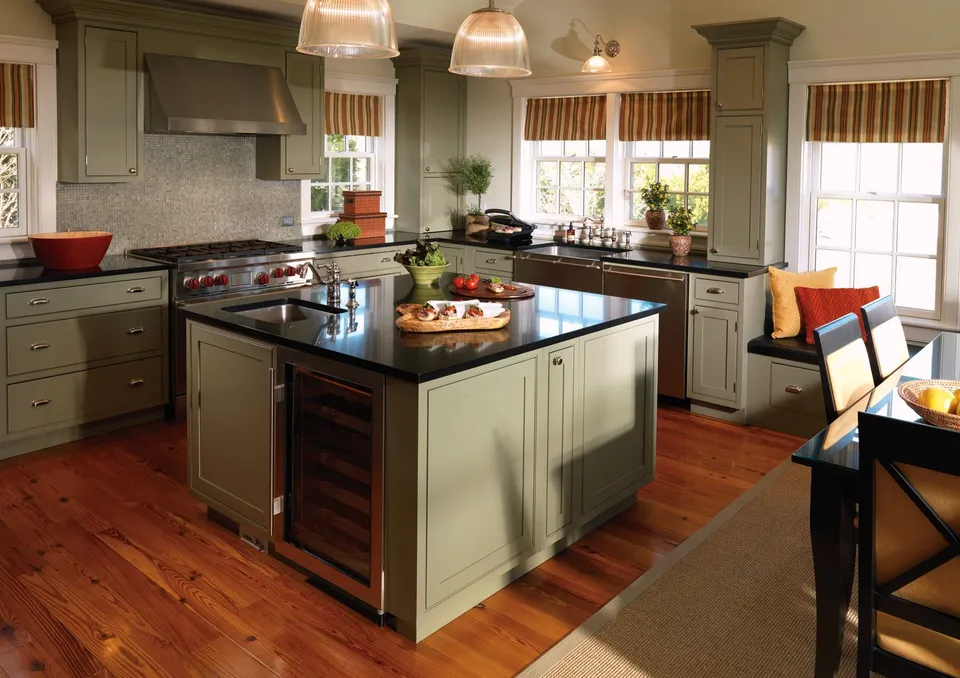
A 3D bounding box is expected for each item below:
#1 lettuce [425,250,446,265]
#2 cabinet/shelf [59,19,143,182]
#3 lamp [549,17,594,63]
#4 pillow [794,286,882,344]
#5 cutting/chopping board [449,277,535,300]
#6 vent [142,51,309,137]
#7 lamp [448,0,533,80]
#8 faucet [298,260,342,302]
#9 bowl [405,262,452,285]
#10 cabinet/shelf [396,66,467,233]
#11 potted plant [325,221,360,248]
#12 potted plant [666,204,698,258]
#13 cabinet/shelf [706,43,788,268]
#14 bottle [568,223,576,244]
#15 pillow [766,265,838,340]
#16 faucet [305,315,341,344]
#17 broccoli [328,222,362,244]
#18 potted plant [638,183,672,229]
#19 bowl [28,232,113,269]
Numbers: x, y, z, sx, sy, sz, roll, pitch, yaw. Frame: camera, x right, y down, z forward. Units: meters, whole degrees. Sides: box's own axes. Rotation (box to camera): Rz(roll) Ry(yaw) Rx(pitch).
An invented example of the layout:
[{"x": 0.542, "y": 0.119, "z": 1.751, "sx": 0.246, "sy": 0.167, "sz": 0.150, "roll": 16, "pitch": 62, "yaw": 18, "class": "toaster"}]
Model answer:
[{"x": -0.273, "y": -0.504, "z": 4.430, "sx": 0.147, "sy": 0.093, "sz": 0.054, "roll": -14, "pitch": 20, "yaw": -39, "class": "lettuce"}, {"x": -2.880, "y": -1.799, "z": 5.322, "sx": 0.402, "sy": 1.205, "sz": 0.519, "roll": 21, "pitch": 22, "yaw": 27, "class": "cabinet/shelf"}, {"x": 0.826, "y": -2.646, "z": 6.390, "sx": 0.430, "sy": 0.465, "sz": 0.453, "roll": 2, "pitch": 8, "yaw": 1, "class": "lamp"}, {"x": 2.643, "y": -0.217, "z": 5.257, "sx": 0.588, "sy": 0.397, "sz": 0.204, "roll": 0, "pitch": -7, "yaw": 25, "class": "pillow"}, {"x": 0.074, "y": -0.333, "z": 4.403, "sx": 0.539, "sy": 0.106, "sz": 0.454, "roll": -1, "pitch": 16, "yaw": 2, "class": "cutting/chopping board"}, {"x": -2.017, "y": -1.943, "z": 5.670, "sx": 1.140, "sy": 0.555, "sz": 0.432, "roll": -13, "pitch": 22, "yaw": -41, "class": "vent"}, {"x": 0.050, "y": -1.490, "z": 3.514, "sx": 0.418, "sy": 0.435, "sz": 0.411, "roll": -3, "pitch": 11, "yaw": -16, "class": "lamp"}, {"x": -0.877, "y": -0.336, "z": 4.195, "sx": 0.084, "sy": 0.234, "sz": 0.277, "roll": -25, "pitch": 6, "yaw": -7, "class": "faucet"}, {"x": -0.324, "y": -0.407, "z": 4.485, "sx": 0.244, "sy": 0.148, "sz": 0.172, "roll": -16, "pitch": 21, "yaw": -42, "class": "bowl"}, {"x": -0.481, "y": -1.892, "z": 7.388, "sx": 0.671, "sy": 1.550, "sz": 0.381, "roll": -13, "pitch": 22, "yaw": -40, "class": "cabinet/shelf"}, {"x": -1.247, "y": -0.950, "z": 6.416, "sx": 0.245, "sy": 0.234, "sz": 0.281, "roll": -4, "pitch": 10, "yaw": -21, "class": "potted plant"}, {"x": 1.738, "y": -0.939, "z": 6.106, "sx": 0.234, "sy": 0.398, "sz": 0.596, "roll": 3, "pitch": 16, "yaw": 17, "class": "potted plant"}, {"x": 2.115, "y": -1.469, "z": 5.617, "sx": 0.578, "sy": 1.784, "sz": 0.581, "roll": 2, "pitch": 4, "yaw": 17, "class": "cabinet/shelf"}, {"x": 0.865, "y": -1.005, "z": 6.678, "sx": 0.073, "sy": 0.165, "sz": 0.267, "roll": 0, "pitch": 16, "yaw": 6, "class": "bottle"}, {"x": 2.507, "y": -0.284, "z": 5.479, "sx": 0.574, "sy": 0.528, "sz": 0.206, "roll": -4, "pitch": -1, "yaw": -13, "class": "pillow"}, {"x": -0.759, "y": -0.047, "z": 3.506, "sx": 0.121, "sy": 0.042, "sz": 0.188, "roll": -11, "pitch": 22, "yaw": -32, "class": "faucet"}, {"x": -1.228, "y": -0.947, "z": 6.398, "sx": 0.210, "sy": 0.189, "sz": 0.239, "roll": -8, "pitch": 10, "yaw": -37, "class": "broccoli"}, {"x": 1.576, "y": -1.195, "z": 6.361, "sx": 0.263, "sy": 0.415, "sz": 0.239, "roll": 1, "pitch": 16, "yaw": 10, "class": "potted plant"}, {"x": -2.849, "y": -0.604, "z": 4.926, "sx": 0.374, "sy": 0.158, "sz": 0.374, "roll": 0, "pitch": 3, "yaw": 0, "class": "bowl"}]
